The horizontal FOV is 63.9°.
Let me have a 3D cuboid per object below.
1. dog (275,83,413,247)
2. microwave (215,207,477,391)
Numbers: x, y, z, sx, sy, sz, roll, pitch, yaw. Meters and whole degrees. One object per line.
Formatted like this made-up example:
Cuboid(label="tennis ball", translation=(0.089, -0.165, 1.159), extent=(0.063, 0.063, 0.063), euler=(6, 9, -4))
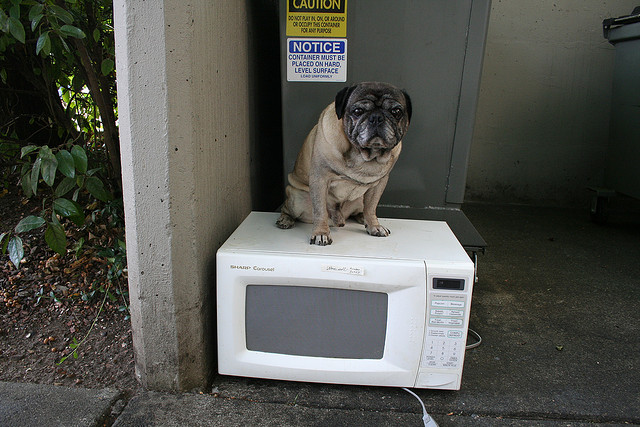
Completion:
Cuboid(label="dog", translation=(0.106, -0.289, 2.877), extent=(0.588, 0.832, 1.034), euler=(-3, 7, -20))
Cuboid(label="microwave", translation=(0.159, 0.221, 2.818), extent=(1.119, 0.609, 0.825), euler=(1, 14, 2))
